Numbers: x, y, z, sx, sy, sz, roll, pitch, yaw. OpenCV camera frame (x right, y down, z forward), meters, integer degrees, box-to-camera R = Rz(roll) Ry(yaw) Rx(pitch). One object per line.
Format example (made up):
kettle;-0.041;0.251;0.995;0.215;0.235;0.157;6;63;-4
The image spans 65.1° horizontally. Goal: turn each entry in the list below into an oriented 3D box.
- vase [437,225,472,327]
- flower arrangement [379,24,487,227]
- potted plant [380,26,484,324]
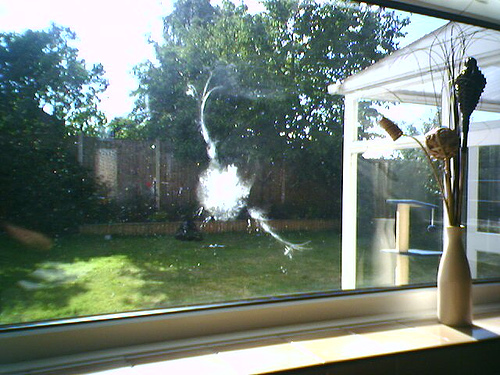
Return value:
vase;0.920;0.396;1.749;0.143;0.434;0.122;3;12;14
flower arrangement;0.932;-0.354;1.950;0.364;0.972;0.607;9;14;38
potted plant;0.990;-0.125;2.022;0.470;1.429;0.850;5;12;24
